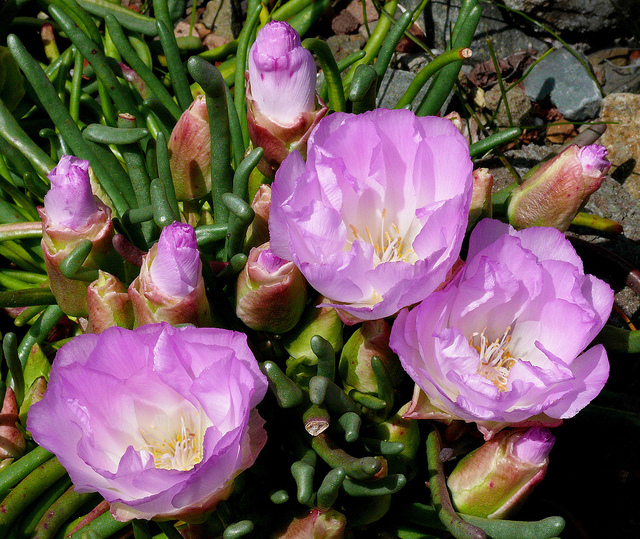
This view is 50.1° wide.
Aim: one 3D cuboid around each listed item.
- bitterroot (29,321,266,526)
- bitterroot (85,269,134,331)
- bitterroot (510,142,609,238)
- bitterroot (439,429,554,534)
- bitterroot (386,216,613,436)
[{"bbox_3d":[-0.341,0.263,1.254,0.217,0.402,0.404,-43,60,3],"label":"bitterroot"},{"bbox_3d":[-0.439,0.065,1.423,0.079,0.146,0.081,-6,15,16],"label":"bitterroot"},{"bbox_3d":[0.557,-0.202,1.592,0.148,0.251,0.113,30,41,7],"label":"bitterroot"},{"bbox_3d":[0.361,0.407,1.379,0.144,0.227,0.083,53,35,15],"label":"bitterroot"},{"bbox_3d":[0.368,0.108,1.317,0.358,0.214,0.486,3,85,10],"label":"bitterroot"}]
